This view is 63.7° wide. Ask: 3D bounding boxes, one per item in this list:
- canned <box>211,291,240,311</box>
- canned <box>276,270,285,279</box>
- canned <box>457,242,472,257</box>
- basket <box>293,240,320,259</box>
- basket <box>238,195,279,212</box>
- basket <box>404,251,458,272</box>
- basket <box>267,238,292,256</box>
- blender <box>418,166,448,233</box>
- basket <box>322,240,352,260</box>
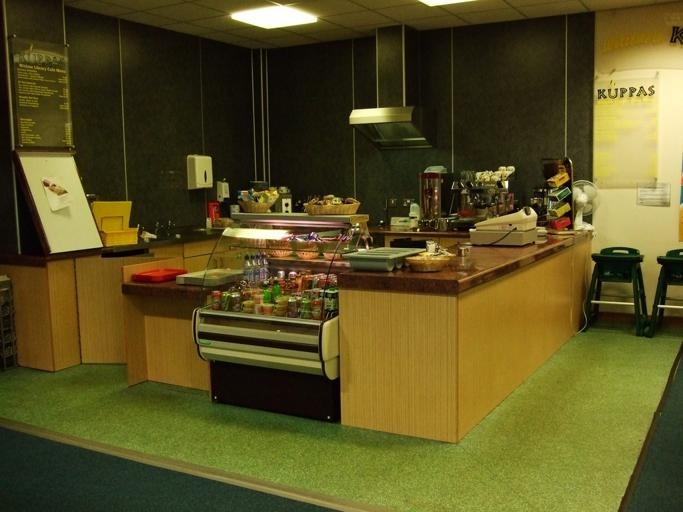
[{"bbox_3d":[-0.828,0.318,3.920,0.152,0.143,0.153,2,6,15],"label":"canned"},{"bbox_3d":[-0.443,0.134,3.973,0.052,0.052,0.052,0,1,-15],"label":"canned"},{"bbox_3d":[0.941,-0.056,4.223,0.096,0.073,0.109,0,-1,15],"label":"canned"},{"bbox_3d":[-0.267,-0.046,4.017,0.149,0.090,0.148,0,2,-11],"label":"basket"},{"bbox_3d":[-0.682,-0.439,4.474,0.290,0.156,0.339,-3,9,-11],"label":"basket"},{"bbox_3d":[0.574,0.041,3.668,0.296,0.100,0.260,0,9,5],"label":"basket"},{"bbox_3d":[-0.469,-0.071,4.075,0.145,0.090,0.135,2,5,28],"label":"basket"},{"bbox_3d":[1.099,-0.664,6.661,0.303,0.765,0.269,0,-1,37],"label":"blender"},{"bbox_3d":[-0.035,-0.039,3.900,0.232,0.145,0.105,0,8,6],"label":"basket"}]
